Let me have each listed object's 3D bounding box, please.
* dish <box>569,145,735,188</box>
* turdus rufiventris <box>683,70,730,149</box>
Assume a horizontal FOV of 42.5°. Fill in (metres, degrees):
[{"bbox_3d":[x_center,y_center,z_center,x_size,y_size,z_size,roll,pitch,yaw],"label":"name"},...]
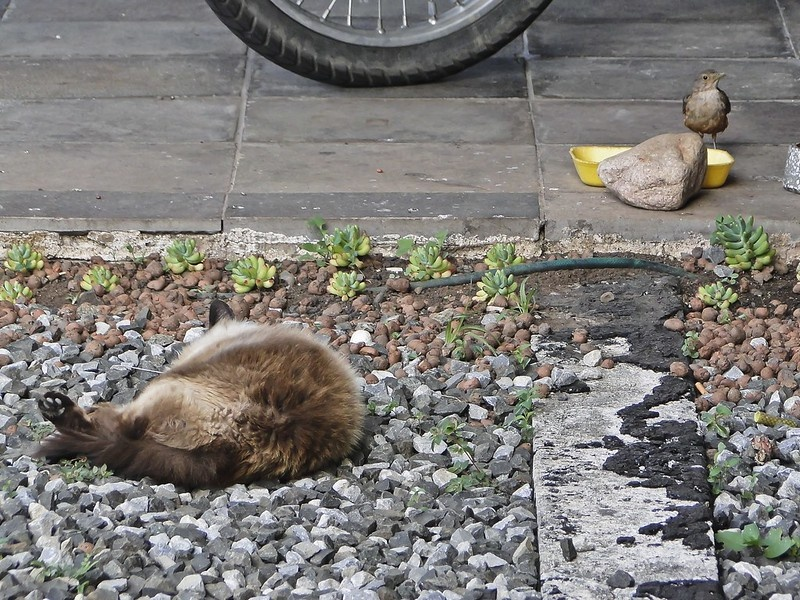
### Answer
[{"bbox_3d":[1.225,-0.646,5.017,0.779,0.202,0.427,0,12,8],"label":"dish"},{"bbox_3d":[1.521,-0.952,5.134,0.215,0.389,0.250,-1,15,7],"label":"turdus rufiventris"}]
